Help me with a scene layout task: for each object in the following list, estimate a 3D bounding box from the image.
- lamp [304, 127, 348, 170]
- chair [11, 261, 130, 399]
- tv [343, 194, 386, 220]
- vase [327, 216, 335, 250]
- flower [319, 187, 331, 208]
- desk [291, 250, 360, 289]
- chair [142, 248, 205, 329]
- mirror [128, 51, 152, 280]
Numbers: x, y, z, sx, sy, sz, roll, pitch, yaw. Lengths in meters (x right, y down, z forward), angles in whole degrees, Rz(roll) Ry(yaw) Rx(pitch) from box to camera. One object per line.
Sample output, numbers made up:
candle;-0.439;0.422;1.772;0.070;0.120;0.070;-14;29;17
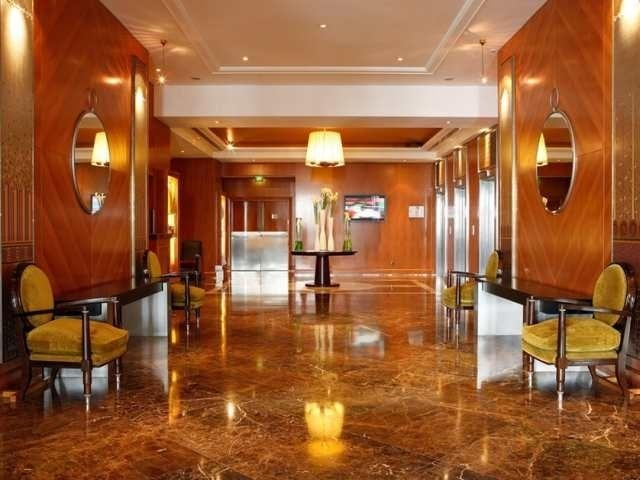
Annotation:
lamp;0.141;-2.037;11.523;0.799;0.650;0.794;-4;6;-39
chair;-2.379;0.886;5.510;1.112;1.454;1.127;0;0;-6
tv;1.412;-1.036;15.933;0.865;0.616;0.085;0;5;3
vase;0.243;-0.159;12.184;0.128;0.816;0.384;-1;1;-4
flower;0.116;-0.974;12.242;0.228;0.462;0.350;-1;1;-1
desk;0.040;0.663;12.929;1.126;0.865;2.579;-1;2;-2
chair;-2.177;0.714;8.072;1.062;1.450;1.096;0;1;-7
mirror;-2.750;-1.123;7.859;0.149;2.234;0.703;-1;1;-3
